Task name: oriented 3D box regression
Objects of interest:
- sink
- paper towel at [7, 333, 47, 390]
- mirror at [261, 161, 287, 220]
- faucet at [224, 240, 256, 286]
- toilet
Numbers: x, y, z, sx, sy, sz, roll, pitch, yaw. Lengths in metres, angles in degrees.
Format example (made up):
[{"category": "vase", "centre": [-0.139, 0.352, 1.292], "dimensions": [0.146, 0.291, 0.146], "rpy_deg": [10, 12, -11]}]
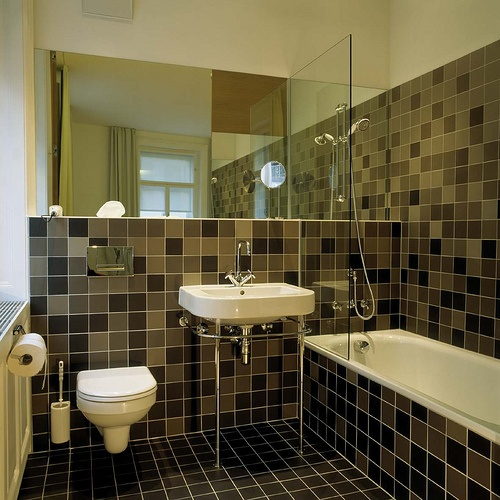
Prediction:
[{"category": "sink", "centre": [-0.030, 0.325, 2.683], "dimensions": [0.762, 0.215, 0.557], "rpy_deg": [0, 6, -12]}, {"category": "paper towel", "centre": [-0.991, 0.456, 2.078], "dimensions": [0.139, 0.220, 0.214], "rpy_deg": [9, 5, -21]}, {"category": "mirror", "centre": [0.151, -0.381, 3.261], "dimensions": [0.173, 0.124, 0.521], "rpy_deg": [5, -40, 4]}, {"category": "faucet", "centre": [-0.054, 0.083, 2.889], "dimensions": [0.151, 0.311, 0.146], "rpy_deg": [4, 0, -39]}, {"category": "toilet", "centre": [-0.752, 0.904, 2.552], "dimensions": [0.352, 0.487, 0.481], "rpy_deg": [0, 4, -26]}]
